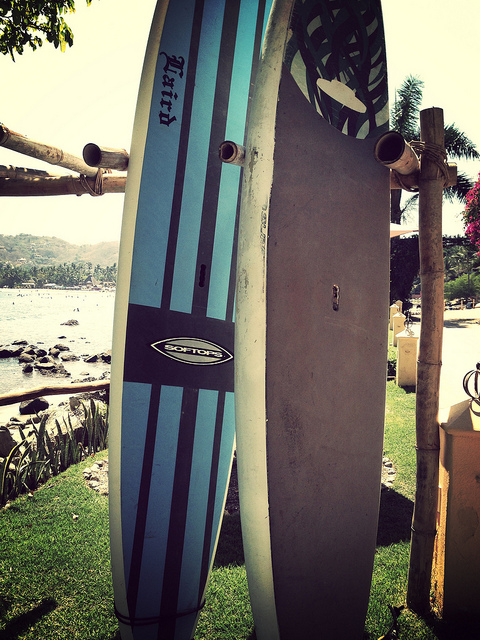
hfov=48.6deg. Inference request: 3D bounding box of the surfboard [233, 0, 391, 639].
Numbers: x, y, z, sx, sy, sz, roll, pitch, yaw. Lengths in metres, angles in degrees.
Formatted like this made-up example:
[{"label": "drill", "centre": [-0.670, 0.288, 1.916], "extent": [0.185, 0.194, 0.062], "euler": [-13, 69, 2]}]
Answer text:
[{"label": "surfboard", "centre": [0.262, -0.049, 1.682], "extent": [0.215, 1.950, 0.850], "euler": [2, 0, 30]}]
